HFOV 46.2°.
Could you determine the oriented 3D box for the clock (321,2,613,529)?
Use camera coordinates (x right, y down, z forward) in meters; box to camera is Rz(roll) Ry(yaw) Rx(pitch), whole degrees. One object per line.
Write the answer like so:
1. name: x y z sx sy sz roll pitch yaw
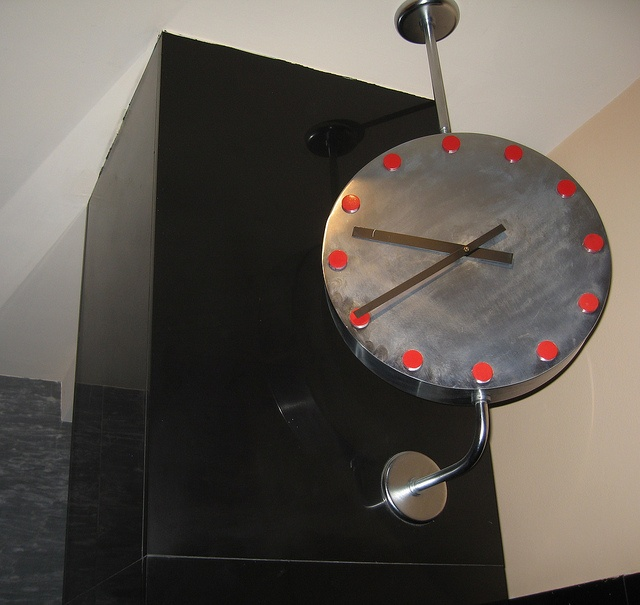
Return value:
1. clock: 0.199 -0.136 1.272 0.387 0.762 0.536 1 16 -35
